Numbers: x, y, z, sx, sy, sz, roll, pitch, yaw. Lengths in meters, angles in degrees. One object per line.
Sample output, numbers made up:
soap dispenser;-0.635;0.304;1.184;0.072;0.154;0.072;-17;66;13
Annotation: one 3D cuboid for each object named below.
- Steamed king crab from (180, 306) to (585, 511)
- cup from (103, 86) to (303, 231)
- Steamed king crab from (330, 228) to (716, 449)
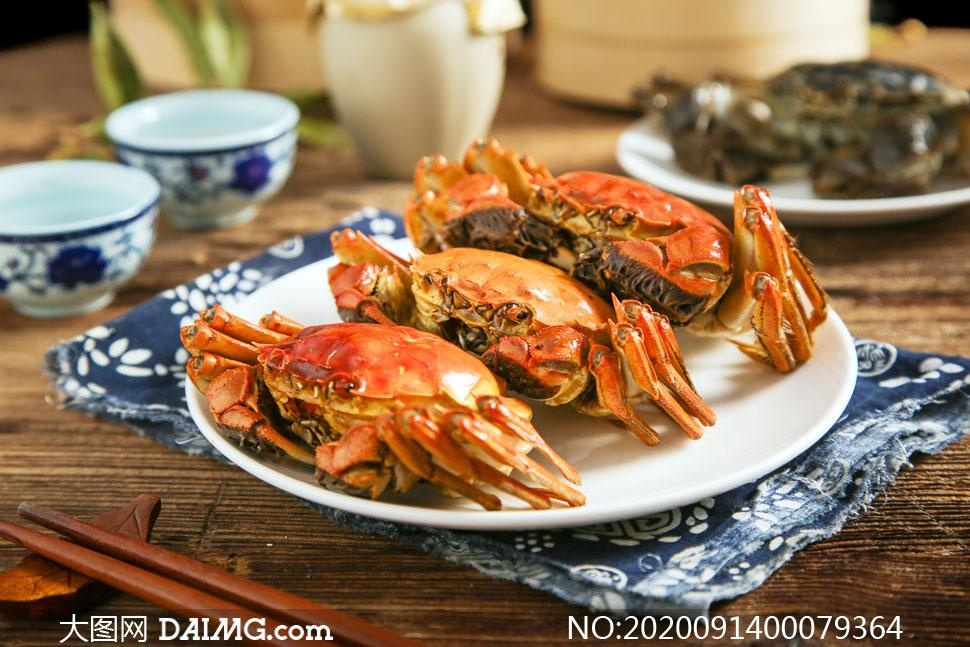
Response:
Steamed king crab;-0.135;0.103;1.139;0.473;0.128;0.267;15;29;37
cup;-0.541;-0.310;1.819;0.382;0.179;0.314;5;31;5
Steamed king crab;0.026;0.000;1.327;0.527;0.145;0.321;24;27;33
